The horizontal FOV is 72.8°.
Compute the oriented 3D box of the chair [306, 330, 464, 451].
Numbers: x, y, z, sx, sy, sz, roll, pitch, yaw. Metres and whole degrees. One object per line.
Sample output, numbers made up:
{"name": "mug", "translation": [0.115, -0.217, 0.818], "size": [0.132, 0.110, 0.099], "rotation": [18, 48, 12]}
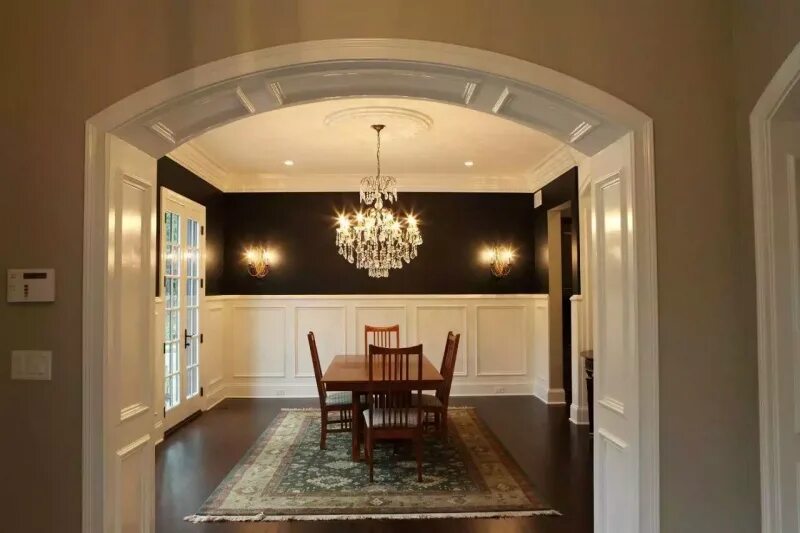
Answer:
{"name": "chair", "translation": [-0.159, 1.243, 5.619], "size": [1.226, 1.025, 1.620], "rotation": [-1, 1, -6]}

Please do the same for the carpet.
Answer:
{"name": "carpet", "translation": [-0.261, 1.896, 5.250], "size": [2.873, 0.130, 1.959], "rotation": [0, 2, -1]}
